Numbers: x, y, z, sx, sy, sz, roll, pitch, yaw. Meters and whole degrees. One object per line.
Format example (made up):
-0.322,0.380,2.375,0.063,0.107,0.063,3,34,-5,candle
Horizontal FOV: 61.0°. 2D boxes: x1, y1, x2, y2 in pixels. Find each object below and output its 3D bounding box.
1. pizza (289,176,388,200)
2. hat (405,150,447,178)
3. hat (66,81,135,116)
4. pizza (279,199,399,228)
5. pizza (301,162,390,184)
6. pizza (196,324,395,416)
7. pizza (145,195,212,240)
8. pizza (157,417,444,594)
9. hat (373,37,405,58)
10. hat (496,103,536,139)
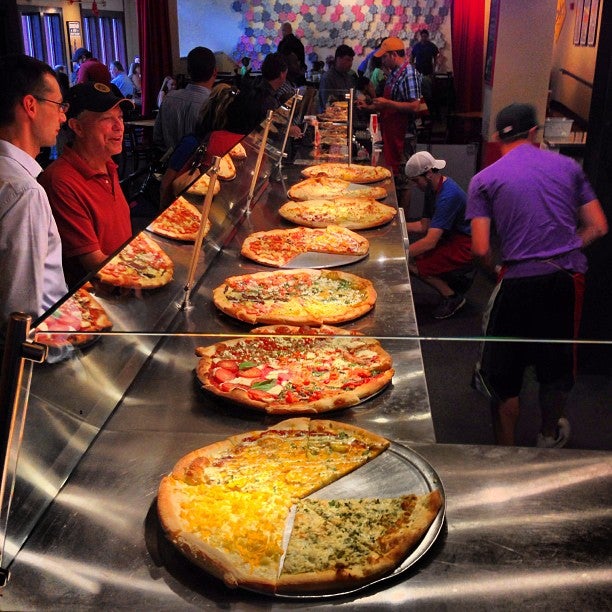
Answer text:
0.136,-0.550,2.453,0.363,0.053,0.199,3,28,6,pizza
0.769,-0.892,3.263,0.251,0.114,0.138,-18,40,-2,hat
-0.672,-0.656,1.676,0.188,0.077,0.117,-7,28,-1,hat
0.125,-0.371,2.087,0.286,0.032,0.238,-1,24,0,pizza
0.210,-0.703,2.739,0.339,0.041,0.213,4,27,5,pizza
-0.007,0.109,0.858,0.228,0.030,0.178,-1,22,-7,pizza
-0.299,-0.192,1.233,0.123,0.013,0.122,25,42,6,pizza
-0.010,0.208,0.633,0.232,0.026,0.186,0,29,-4,pizza
0.777,-2.399,4.877,0.306,0.148,0.184,6,49,18,hat
0.813,-0.725,2.076,0.181,0.122,0.116,-1,47,13,hat
